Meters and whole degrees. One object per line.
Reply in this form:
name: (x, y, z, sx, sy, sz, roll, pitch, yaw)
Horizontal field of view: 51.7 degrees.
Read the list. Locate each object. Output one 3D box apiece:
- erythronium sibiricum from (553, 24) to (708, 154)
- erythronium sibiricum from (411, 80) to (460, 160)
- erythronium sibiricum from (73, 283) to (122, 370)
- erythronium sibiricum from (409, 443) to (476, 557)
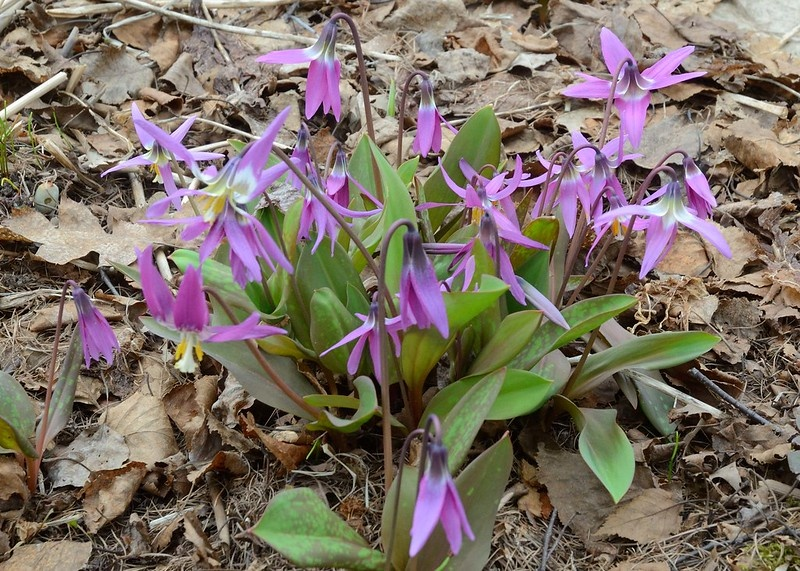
erythronium sibiricum: (0.791, -0.742, 2.968, 0.511, 0.201, 0.550, -4, 31, 9)
erythronium sibiricum: (0.126, -0.672, 3.232, 0.162, 0.286, 0.158, -15, 15, -27)
erythronium sibiricum: (-1.097, 0.130, 2.953, 0.131, 0.327, 0.122, -28, 25, -34)
erythronium sibiricum: (0.117, 0.628, 2.428, 0.197, 0.315, 0.183, 6, -12, -42)
